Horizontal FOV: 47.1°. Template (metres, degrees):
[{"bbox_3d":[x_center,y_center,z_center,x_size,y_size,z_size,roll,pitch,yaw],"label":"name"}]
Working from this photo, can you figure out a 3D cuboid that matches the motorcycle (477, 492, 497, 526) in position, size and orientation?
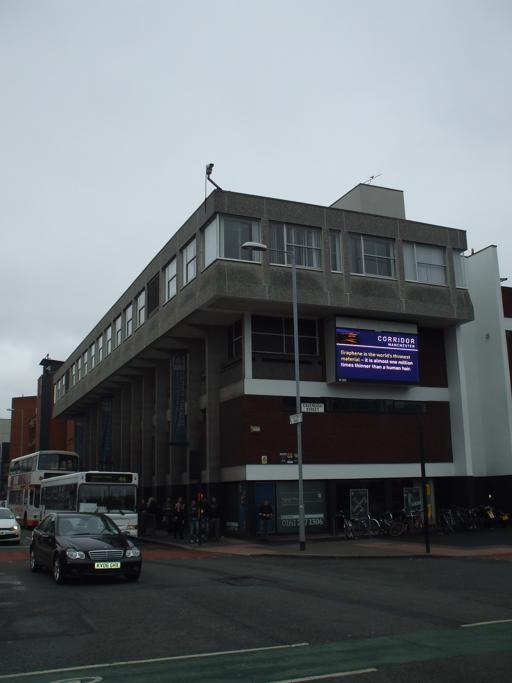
[{"bbox_3d":[12.668,9.313,32.217,0.969,1.726,2.167,-7,-16,21],"label":"motorcycle"}]

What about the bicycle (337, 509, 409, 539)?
[{"bbox_3d":[5.784,8.967,28.116,3.413,0.881,1.109,6,-17,-24],"label":"bicycle"}]

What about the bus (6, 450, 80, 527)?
[{"bbox_3d":[-13.505,9.847,38.673,3.522,5.004,10.340,7,-22,-25],"label":"bus"}]

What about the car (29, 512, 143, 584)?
[{"bbox_3d":[-3.927,4.603,13.103,1.259,1.049,3.054,7,-20,-23],"label":"car"}]

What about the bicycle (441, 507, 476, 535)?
[{"bbox_3d":[10.757,9.703,30.841,1.640,1.227,0.950,3,-14,-8],"label":"bicycle"}]

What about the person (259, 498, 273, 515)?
[{"bbox_3d":[0.434,7.816,27.651,0.749,0.853,0.443,2,-7,-5],"label":"person"}]
